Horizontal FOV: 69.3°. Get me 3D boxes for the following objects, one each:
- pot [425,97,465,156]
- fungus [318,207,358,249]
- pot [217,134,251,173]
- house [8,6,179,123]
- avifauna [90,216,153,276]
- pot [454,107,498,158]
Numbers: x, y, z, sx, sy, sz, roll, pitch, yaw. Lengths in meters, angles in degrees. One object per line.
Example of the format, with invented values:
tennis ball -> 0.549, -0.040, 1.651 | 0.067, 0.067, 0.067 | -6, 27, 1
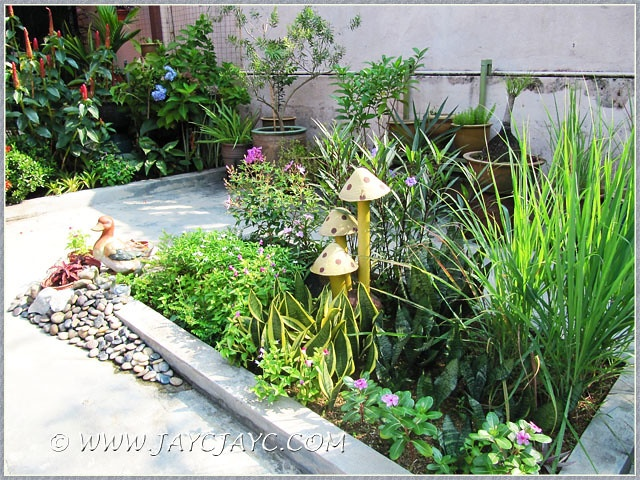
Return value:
pot -> 1.098, -0.978, 4.296 | 0.386, 0.299, 0.388 | -13, 10, 2
fungus -> 0.098, -0.064, 2.251 | 0.195, 0.222, 0.193 | -3, 8, -2
pot -> -1.008, -1.033, 5.644 | 0.475, 0.383, 0.496 | 0, 6, 0
house -> -2.732, -2.086, 5.542 | 1.617, 1.445, 1.650 | 32, 33, 31
avifauna -> -1.362, 0.031, 3.210 | 0.424, 0.404, 0.280 | -3, 15, -27
pot -> 1.360, -0.982, 4.138 | 0.354, 0.427, 0.632 | 5, 18, 18
